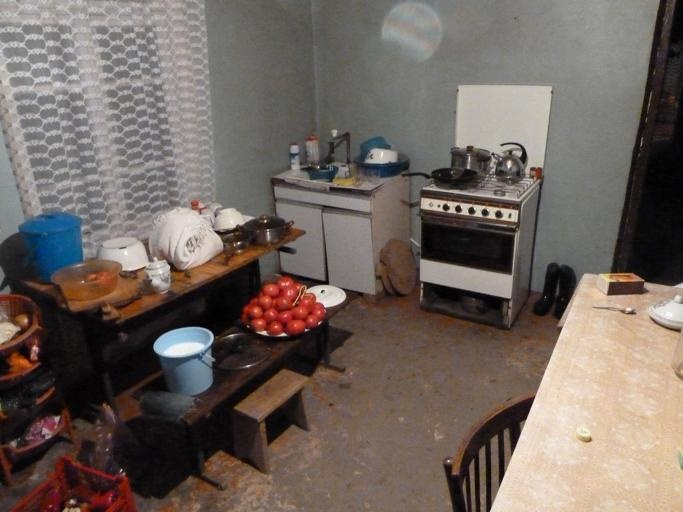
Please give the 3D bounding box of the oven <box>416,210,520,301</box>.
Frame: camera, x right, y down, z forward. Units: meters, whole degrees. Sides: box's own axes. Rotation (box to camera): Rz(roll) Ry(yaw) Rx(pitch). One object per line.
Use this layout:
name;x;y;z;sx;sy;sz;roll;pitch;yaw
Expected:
oven;1.043;-0.116;4.136;0.773;0.730;0.546;12;29;32

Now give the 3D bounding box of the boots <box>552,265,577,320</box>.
boots;1.602;0.257;3.811;0.137;0.284;0.414;6;52;32

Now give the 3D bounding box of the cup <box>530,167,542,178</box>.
cup;1.509;-0.648;4.129;0.081;0.090;0.084;-4;13;1

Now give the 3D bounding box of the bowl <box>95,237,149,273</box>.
bowl;-1.240;-0.012;3.067;0.215;0.113;0.217;5;13;-1

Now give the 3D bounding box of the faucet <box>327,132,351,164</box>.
faucet;-0.024;-0.968;4.750;0.209;0.301;0.467;-1;21;2

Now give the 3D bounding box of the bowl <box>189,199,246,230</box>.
bowl;-0.799;-0.259;3.476;0.252;0.077;0.260;0;17;0

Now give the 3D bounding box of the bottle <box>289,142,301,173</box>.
bottle;-0.423;-0.896;4.718;0.101;0.232;0.263;-3;21;-2

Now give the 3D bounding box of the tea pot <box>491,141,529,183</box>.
tea pot;1.252;-0.730;4.094;0.347;0.383;0.283;-2;16;1

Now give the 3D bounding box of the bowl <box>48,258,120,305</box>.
bowl;-1.331;0.122;2.821;0.227;0.158;0.349;14;26;35

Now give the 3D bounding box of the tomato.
tomato;-0.327;0.301;3.149;0.355;0.165;0.360;12;31;25

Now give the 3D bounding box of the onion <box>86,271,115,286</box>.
onion;-1.262;0.125;2.774;0.137;0.062;0.054;-11;23;-22

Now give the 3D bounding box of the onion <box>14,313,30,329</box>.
onion;-1.554;0.318;2.564;0.075;0.063;0.064;41;25;26

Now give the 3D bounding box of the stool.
stool;-0.414;0.942;2.970;0.253;0.353;0.474;13;29;25

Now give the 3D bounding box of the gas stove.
gas stove;1.088;-0.451;3.936;0.476;0.191;0.482;12;23;35

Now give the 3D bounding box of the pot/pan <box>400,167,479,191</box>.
pot/pan;0.795;-0.584;3.964;0.370;0.075;0.226;-6;19;-5

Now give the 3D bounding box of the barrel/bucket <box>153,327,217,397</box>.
barrel/bucket;-0.812;0.542;2.858;0.340;0.259;0.334;0;25;0

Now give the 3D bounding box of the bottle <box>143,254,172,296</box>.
bottle;-0.990;0.113;2.848;0.138;0.179;0.174;-10;12;-36

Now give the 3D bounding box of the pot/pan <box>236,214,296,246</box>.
pot/pan;-0.476;-0.167;3.449;0.268;0.124;0.208;1;25;5

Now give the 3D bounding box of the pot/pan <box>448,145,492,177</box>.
pot/pan;0.985;-0.733;4.022;0.328;0.224;0.214;3;11;10

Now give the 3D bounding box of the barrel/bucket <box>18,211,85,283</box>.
barrel/bucket;-1.520;-0.079;2.845;0.331;0.324;0.332;3;23;-1

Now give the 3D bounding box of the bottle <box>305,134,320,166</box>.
bottle;-0.269;-0.954;4.753;0.117;0.237;0.249;-4;21;-5
